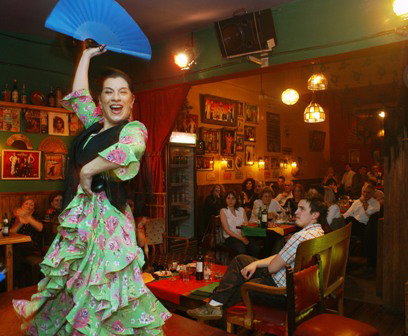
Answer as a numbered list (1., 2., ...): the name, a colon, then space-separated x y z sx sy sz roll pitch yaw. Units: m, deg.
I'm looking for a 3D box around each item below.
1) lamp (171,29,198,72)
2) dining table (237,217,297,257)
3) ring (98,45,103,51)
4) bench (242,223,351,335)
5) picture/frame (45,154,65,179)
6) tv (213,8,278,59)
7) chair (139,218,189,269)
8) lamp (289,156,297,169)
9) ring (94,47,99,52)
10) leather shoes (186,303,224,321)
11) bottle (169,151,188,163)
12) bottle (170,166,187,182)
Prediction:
1. lamp: -0.377 -2.058 5.582 0.310 0.556 0.228 2 -15 -18
2. dining table: 1.143 1.223 5.627 0.583 0.475 0.926 -1 -10 -20
3. ring: -0.595 -0.687 1.924 0.025 0.026 0.045 4 11 -8
4. bench: 0.847 0.995 2.988 0.540 0.906 1.343 3 1 35
5. picture/frame: -2.699 -0.030 5.994 0.076 0.604 0.424 -1 -1 42
6. tv: 0.684 -1.930 4.962 0.555 0.729 0.992 -24 12 -39
7. chair: -0.603 1.248 4.990 0.645 0.937 0.653 -2 -5 40
8. lamp: 3.167 -0.196 12.002 0.318 0.444 0.428 -2 -2 39
9. ring: -0.616 -0.677 1.924 0.020 0.020 0.035 8 8 -13
10. leather shoes: 0.012 1.290 3.067 0.321 0.150 0.134 1 -9 6
11. bottle: -0.546 -0.210 7.002 0.208 0.279 0.393 -2 -2 38
12. bottle: -0.543 0.154 7.028 0.362 0.367 0.269 0 -5 -15
